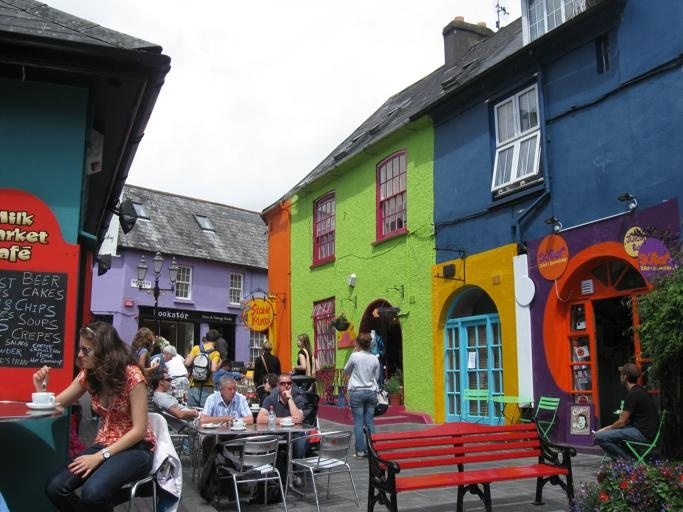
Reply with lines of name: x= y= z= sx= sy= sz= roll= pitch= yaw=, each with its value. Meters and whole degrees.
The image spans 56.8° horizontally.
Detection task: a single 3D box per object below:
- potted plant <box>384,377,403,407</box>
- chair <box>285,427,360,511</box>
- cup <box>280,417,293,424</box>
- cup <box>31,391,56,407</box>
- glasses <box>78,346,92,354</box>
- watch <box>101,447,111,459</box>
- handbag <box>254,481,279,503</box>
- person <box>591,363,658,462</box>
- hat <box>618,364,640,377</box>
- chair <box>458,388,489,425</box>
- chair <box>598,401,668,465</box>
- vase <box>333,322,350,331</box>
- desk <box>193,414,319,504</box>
potted plant: x=1.267 y=3.371 z=15.451 sx=0.500 sy=0.745 sz=0.525 roll=3 pitch=-33 yaw=-6
chair: x=-0.134 y=2.760 z=8.699 sx=0.943 sy=1.399 sz=0.939 roll=5 pitch=-7 yaw=-36
cup: x=-0.769 y=2.317 z=8.845 sx=0.087 sy=0.094 sz=0.132 roll=0 pitch=-17 yaw=-3
cup: x=-2.762 y=1.327 z=5.851 sx=0.126 sy=0.102 sz=0.176 roll=-9 pitch=-23 yaw=30
glasses: x=-2.294 y=0.844 z=5.638 sx=0.120 sy=0.068 sz=0.042 roll=-4 pitch=-14 yaw=20
watch: x=-2.071 y=1.734 z=5.550 sx=0.049 sy=0.091 sz=0.082 roll=-3 pitch=11 yaw=-30
handbag: x=-0.992 y=3.080 z=8.207 sx=0.327 sy=0.422 sz=0.222 roll=3 pitch=-23 yaw=-10
person: x=3.992 y=2.288 z=8.876 sx=0.753 sy=1.525 sz=0.724 roll=-1 pitch=-5 yaw=28
hat: x=4.029 y=1.601 z=8.856 sx=0.174 sy=0.143 sz=0.250 roll=-8 pitch=11 yaw=-24
chair: x=2.760 y=3.093 z=13.078 sx=0.605 sy=0.690 sz=1.106 roll=-2 pitch=-15 yaw=10
chair: x=4.080 y=2.448 z=8.631 sx=0.627 sy=0.697 sz=1.319 roll=-11 pitch=-18 yaw=39
vase: x=0.030 y=1.938 z=17.257 sx=0.466 sy=0.205 sz=0.530 roll=-5 pitch=-16 yaw=22
desk: x=-1.308 y=2.614 z=8.031 sx=1.036 sy=0.746 sz=1.168 roll=5 pitch=-26 yaw=-12
